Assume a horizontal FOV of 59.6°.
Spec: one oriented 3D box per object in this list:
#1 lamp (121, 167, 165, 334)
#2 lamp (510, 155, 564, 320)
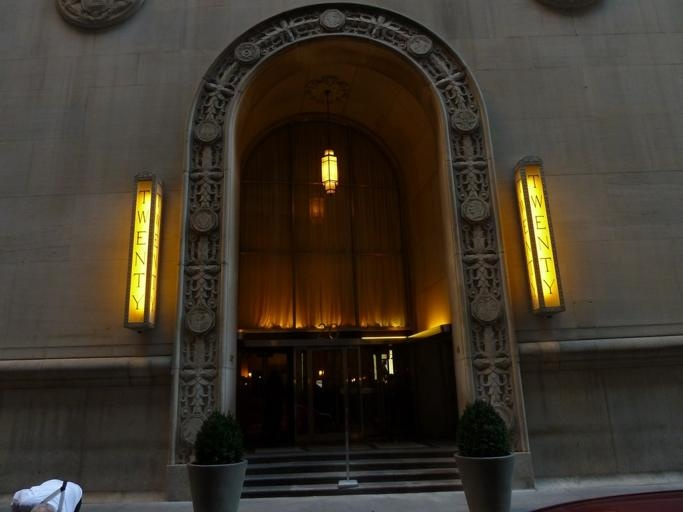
[{"bbox_3d":[-4.452,-0.106,13.400,0.740,3.441,0.576,-5,-14,0],"label":"lamp"},{"bbox_3d":[4.473,-0.503,13.660,0.732,3.655,0.495,-9,-15,19],"label":"lamp"}]
